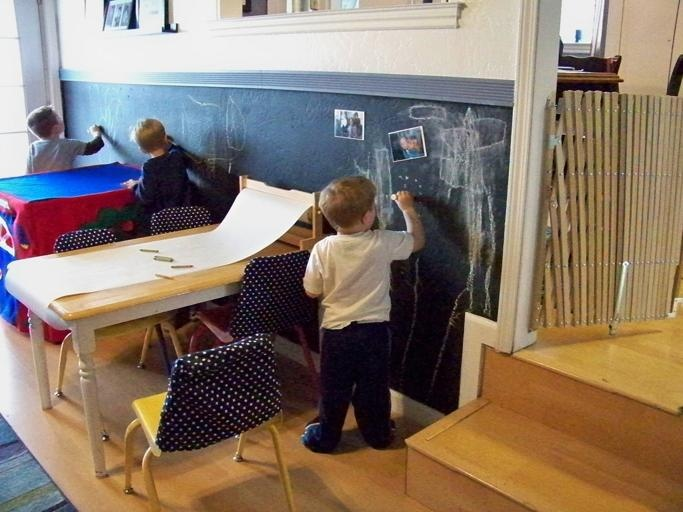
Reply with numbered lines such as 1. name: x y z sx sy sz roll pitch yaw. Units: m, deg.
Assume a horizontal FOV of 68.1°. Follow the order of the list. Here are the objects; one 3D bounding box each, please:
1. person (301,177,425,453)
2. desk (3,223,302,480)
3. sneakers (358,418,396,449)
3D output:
1. person: 0.084 0.275 2.348 0.612 1.266 0.319 -5 18 -12
2. desk: -0.981 0.651 2.833 1.659 1.046 0.920 -18 26 -42
3. sneakers: 0.181 0.869 2.406 0.120 0.062 0.161 -9 11 -30
